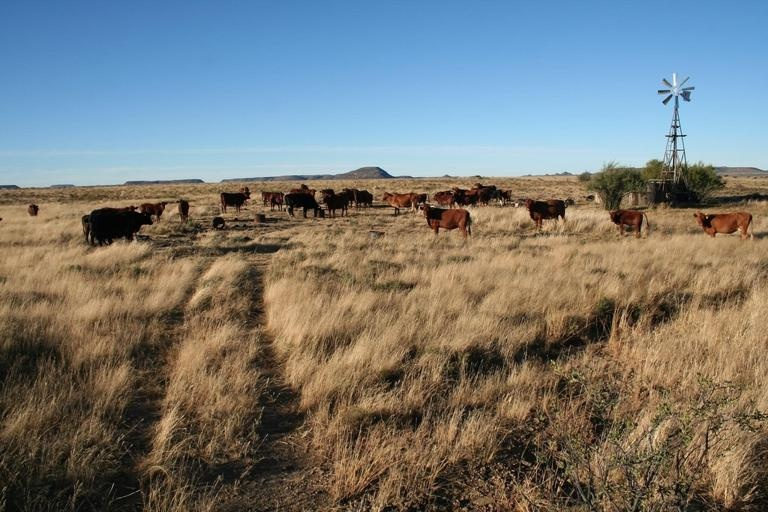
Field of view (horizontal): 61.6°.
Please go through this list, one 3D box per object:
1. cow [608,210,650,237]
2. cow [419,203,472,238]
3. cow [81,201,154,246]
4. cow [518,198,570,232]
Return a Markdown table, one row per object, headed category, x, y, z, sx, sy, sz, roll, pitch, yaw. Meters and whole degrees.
| category | x | y | z | sx | sy | sz | roll | pitch | yaw |
| --- | --- | --- | --- | --- | --- | --- | --- | --- | --- |
| cow | 11.088 | -1.530 | 28.878 | 1.544 | 1.013 | 3.271 | 1 | 9 | 24 |
| cow | 2.789 | -1.488 | 28.368 | 2.125 | 1.279 | 0.671 | 4 | 9 | 39 |
| cow | -11.061 | -1.237 | 26.766 | 1.217 | 2.165 | 3.842 | 7 | 13 | 21 |
| cow | 7.358 | -2.154 | 31.528 | 3.133 | 2.069 | 1.165 | 1 | -2 | -3 |
